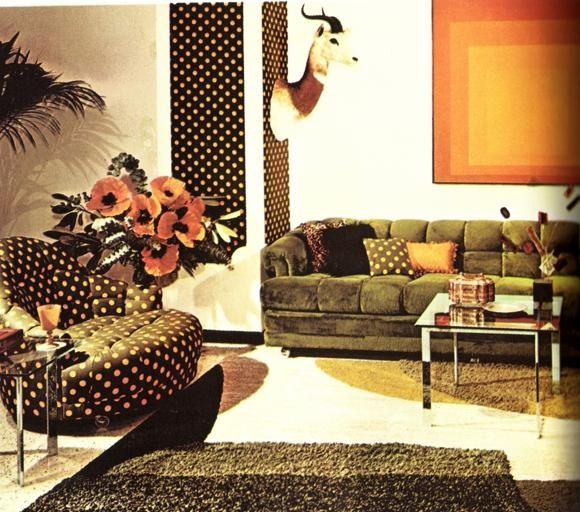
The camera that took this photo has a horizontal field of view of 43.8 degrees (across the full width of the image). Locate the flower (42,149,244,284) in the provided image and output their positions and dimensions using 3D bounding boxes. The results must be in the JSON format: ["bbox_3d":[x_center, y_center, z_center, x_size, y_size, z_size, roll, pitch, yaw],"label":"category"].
[{"bbox_3d":[-1.053,-0.208,5.052,1.096,0.905,1.108,3,3,4],"label":"flower"}]

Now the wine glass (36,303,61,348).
[{"bbox_3d":[-1.202,0.353,3.592,0.102,0.190,0.108,2,7,27],"label":"wine glass"}]

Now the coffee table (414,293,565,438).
[{"bbox_3d":[1.097,0.745,3.844,0.735,0.633,0.823,4,16,5],"label":"coffee table"}]
